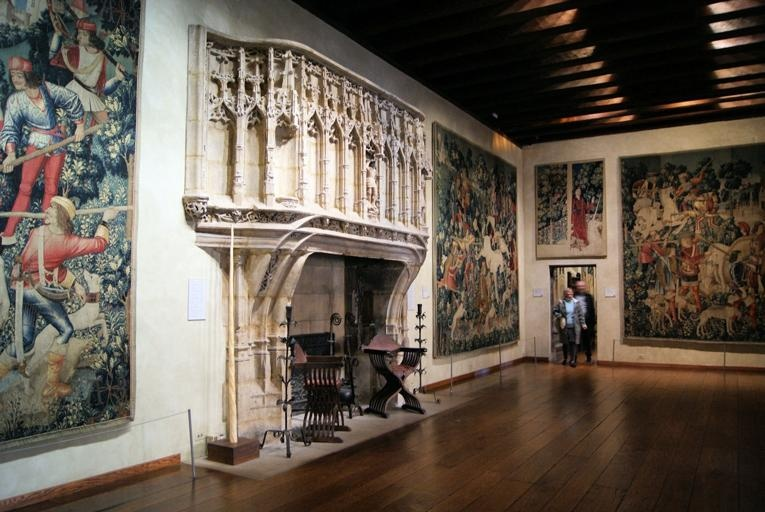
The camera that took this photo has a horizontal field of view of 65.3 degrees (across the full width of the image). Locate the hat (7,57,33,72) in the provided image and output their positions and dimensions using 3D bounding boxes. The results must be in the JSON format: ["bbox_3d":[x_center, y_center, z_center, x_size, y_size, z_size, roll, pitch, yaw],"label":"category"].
[{"bbox_3d":[-4.153,-2.208,6.856,0.163,0.107,0.168,0,0,5],"label":"hat"}]

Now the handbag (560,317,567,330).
[{"bbox_3d":[4.738,1.788,15.778,0.150,0.341,0.218,1,-4,-37],"label":"handbag"}]

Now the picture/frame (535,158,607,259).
[{"bbox_3d":[5.252,-1.291,16.412,2.539,3.600,0.162,-4,-7,31],"label":"picture/frame"}]

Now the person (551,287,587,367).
[{"bbox_3d":[4.975,1.879,15.952,0.782,2.041,0.939,-2,-3,15],"label":"person"}]
